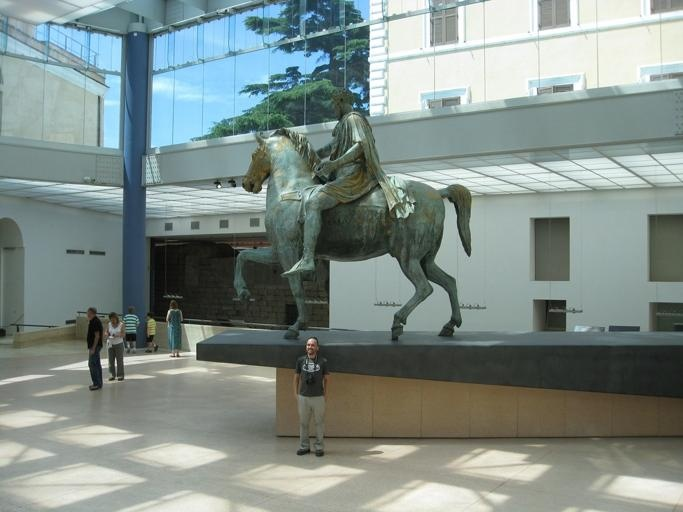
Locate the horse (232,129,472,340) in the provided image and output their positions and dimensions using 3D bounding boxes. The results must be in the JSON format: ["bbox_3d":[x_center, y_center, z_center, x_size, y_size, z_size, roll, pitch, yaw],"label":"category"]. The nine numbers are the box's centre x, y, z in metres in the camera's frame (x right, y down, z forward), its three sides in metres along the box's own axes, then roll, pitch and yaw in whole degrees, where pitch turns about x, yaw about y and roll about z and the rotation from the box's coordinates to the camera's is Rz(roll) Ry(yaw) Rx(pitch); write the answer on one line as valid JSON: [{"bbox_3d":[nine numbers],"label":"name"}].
[{"bbox_3d":[0.092,-0.380,13.274,4.213,4.194,1.198,1,-7,10],"label":"horse"}]

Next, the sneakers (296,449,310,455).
[{"bbox_3d":[-0.674,3.340,12.513,0.083,0.109,0.233,-6,-18,33],"label":"sneakers"}]

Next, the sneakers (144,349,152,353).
[{"bbox_3d":[-6.315,3.089,23.860,0.252,0.127,0.098,3,1,39],"label":"sneakers"}]

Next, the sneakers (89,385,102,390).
[{"bbox_3d":[-5.738,3.045,17.051,0.295,0.150,0.097,8,-7,-9],"label":"sneakers"}]

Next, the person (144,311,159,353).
[{"bbox_3d":[-6.343,2.523,24.377,0.399,1.257,1.623,-4,12,-15],"label":"person"}]

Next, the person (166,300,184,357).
[{"bbox_3d":[-5.191,2.301,22.776,0.432,1.973,1.581,-4,12,-14],"label":"person"}]

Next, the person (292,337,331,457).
[{"bbox_3d":[-0.521,2.398,12.458,0.558,1.990,0.402,-1,11,1],"label":"person"}]
